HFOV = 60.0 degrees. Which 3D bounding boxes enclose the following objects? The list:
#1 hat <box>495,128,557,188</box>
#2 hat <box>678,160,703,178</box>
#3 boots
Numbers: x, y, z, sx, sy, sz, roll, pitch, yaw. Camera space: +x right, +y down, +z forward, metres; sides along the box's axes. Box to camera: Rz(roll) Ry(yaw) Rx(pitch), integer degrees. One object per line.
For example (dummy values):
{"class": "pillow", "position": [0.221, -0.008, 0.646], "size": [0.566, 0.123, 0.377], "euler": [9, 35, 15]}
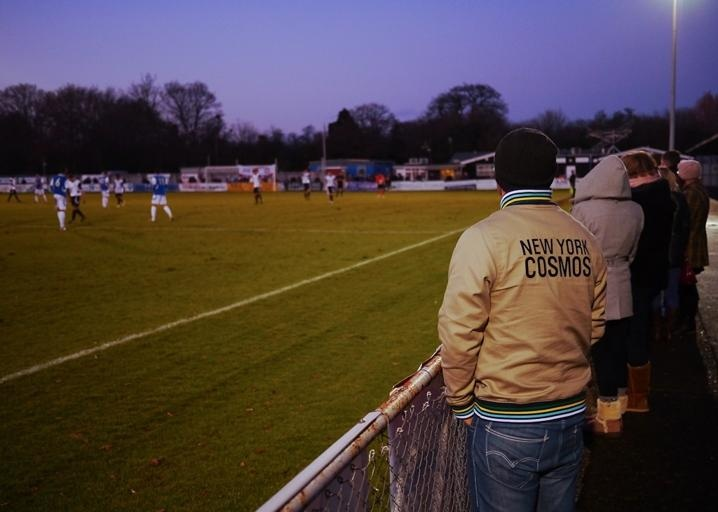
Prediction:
{"class": "hat", "position": [0.958, -0.607, 3.696], "size": [0.275, 0.340, 0.395], "euler": [2, 19, 3]}
{"class": "hat", "position": [4.151, -1.092, 7.790], "size": [0.230, 0.288, 0.318], "euler": [3, 11, -3]}
{"class": "boots", "position": [2.390, 1.312, 5.613], "size": [0.570, 0.702, 0.565], "euler": [2, 1, 39]}
